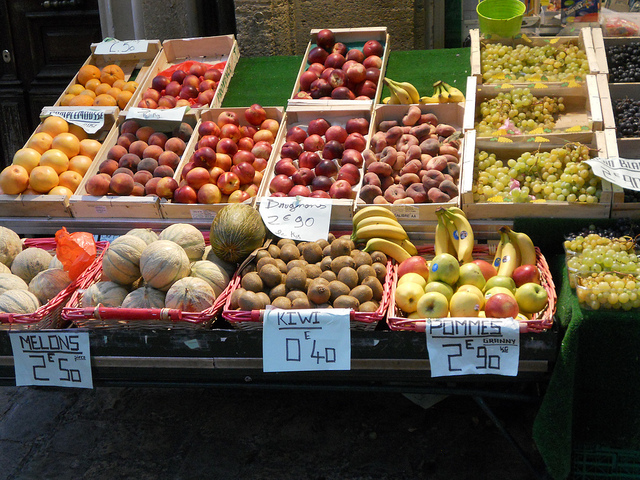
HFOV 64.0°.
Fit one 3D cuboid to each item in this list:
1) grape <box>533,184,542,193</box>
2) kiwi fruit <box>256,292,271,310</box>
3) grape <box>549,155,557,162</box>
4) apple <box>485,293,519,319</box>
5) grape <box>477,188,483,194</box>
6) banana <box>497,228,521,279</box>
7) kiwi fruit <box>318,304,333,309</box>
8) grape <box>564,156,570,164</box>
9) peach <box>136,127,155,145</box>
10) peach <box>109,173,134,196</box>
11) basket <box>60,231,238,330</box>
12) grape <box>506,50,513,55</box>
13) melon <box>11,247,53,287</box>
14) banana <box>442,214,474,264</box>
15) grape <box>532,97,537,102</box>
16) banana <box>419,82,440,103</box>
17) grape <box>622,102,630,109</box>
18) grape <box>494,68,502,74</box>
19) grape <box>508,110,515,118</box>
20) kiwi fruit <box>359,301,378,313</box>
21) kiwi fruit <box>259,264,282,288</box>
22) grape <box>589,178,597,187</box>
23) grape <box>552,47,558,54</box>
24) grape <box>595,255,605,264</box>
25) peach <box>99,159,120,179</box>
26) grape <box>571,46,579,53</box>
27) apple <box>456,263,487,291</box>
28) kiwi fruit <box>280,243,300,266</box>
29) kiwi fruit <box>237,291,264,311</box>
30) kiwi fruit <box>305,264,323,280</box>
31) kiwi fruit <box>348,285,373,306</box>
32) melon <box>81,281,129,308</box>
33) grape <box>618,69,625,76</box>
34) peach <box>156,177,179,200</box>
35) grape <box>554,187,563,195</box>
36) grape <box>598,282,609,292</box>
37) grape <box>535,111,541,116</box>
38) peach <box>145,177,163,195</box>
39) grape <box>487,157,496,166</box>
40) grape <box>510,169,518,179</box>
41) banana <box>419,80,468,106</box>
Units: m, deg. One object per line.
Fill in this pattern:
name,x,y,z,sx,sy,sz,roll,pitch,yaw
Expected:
grape,1.277,-0.308,3.007,0.038,0.048,0.044,0,60,-10
kiwi fruit,-0.279,0.310,2.566,0.051,0.048,0.074,-1,2,0
grape,1.412,-0.498,3.091,0.029,0.024,0.040,-5,14,24
apple,0.854,0.314,2.406,0.108,0.124,0.117,-13,-20,4
grape,0.952,-0.296,3.034,0.027,0.036,0.029,-24,1,22
banana,1.013,0.088,2.779,0.094,0.128,0.384,30,46,-11
kiwi fruit,0.027,0.320,2.519,0.027,0.022,0.036,2,6,1
grape,1.493,-0.487,3.098,0.030,0.036,0.040,-10,-20,1
peach,-1.285,-0.787,3.828,0.104,0.141,0.115,9,1,-6
peach,-1.315,-0.371,3.439,0.144,0.161,0.135,-7,-4,-35
basket,-0.910,0.178,2.758,0.502,0.398,0.664,-5,22,6
grape,1.418,-1.415,3.824,0.040,0.026,0.047,14,31,32
melon,-1.678,0.113,3.082,0.199,0.219,0.245,-16,10,-2
banana,0.749,-0.033,2.885,0.187,0.256,0.239,2,23,15
grape,1.455,-0.961,3.467,0.023,0.032,0.025,-12,14,21
banana,0.805,-1.081,3.748,0.142,0.129,0.106,2,25,11
grape,1.996,-0.887,3.328,0.039,0.021,0.043,10,45,25
grape,1.304,-1.246,3.741,0.045,0.053,0.025,3,-17,22
grape,1.289,-0.855,3.433,0.033,0.038,0.041,9,8,-17
kiwi fruit,0.228,0.327,2.510,0.058,0.052,0.048,-9,-8,11
kiwi fruit,-0.250,0.182,2.693,0.110,0.087,0.087,36,1,40
grape,1.540,-0.330,2.884,0.036,0.049,0.040,-14,0,7
grape,1.751,-1.425,3.812,0.039,0.038,0.020,20,-12,27
grape,1.358,0.091,2.483,0.032,0.033,0.039,-36,43,11
peach,-1.462,-0.515,3.621,0.111,0.122,0.123,-18,1,13
grape,1.877,-1.409,3.757,0.036,0.024,0.046,0,5,-10
apple,0.765,0.168,2.606,0.112,0.136,0.126,1,15,-17
kiwi fruit,-0.163,0.072,2.837,0.077,0.087,0.109,-19,36,-7
kiwi fruit,-0.339,0.306,2.532,0.098,0.079,0.080,12,35,23
kiwi fruit,-0.032,0.167,2.697,0.056,0.065,0.077,0,5,-20
kiwi fruit,0.216,0.277,2.552,0.095,0.083,0.075,1,5,-2
melon,-1.135,0.267,2.702,0.169,0.147,0.124,-6,2,-39
grape,2.104,-1.182,3.569,0.038,0.032,0.055,7,37,21
peach,-0.996,-0.336,3.388,0.125,0.146,0.136,-26,2,-19
grape,1.373,-0.287,2.945,0.027,0.030,0.028,-7,16,-18
grape,1.287,0.207,2.322,0.038,0.038,0.046,-38,46,23
grape,1.467,-0.858,3.436,0.026,0.032,0.027,-34,23,20
peach,-1.120,-0.350,3.449,0.097,0.117,0.108,-3,-17,-21
grape,1.069,-0.495,3.171,0.042,0.036,0.035,14,5,27
grape,1.169,-0.405,3.091,0.040,0.056,0.045,11,25,18
banana,0.901,-1.052,3.738,0.304,0.175,0.193,-11,-8,-12
